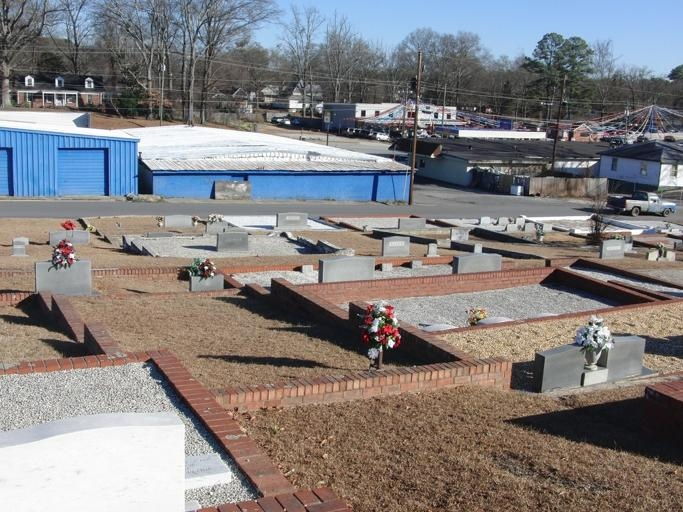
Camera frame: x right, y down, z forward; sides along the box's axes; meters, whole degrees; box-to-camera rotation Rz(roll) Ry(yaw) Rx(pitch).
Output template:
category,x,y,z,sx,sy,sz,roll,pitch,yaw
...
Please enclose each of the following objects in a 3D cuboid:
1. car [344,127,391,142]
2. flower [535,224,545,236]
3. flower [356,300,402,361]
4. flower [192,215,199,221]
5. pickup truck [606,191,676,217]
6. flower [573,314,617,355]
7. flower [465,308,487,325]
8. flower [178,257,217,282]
category,x,y,z,sx,sy,sz,roll,pitch,yaw
car,3.583,-16.844,95.941,3.294,1.696,7.836,-3,11,-31
flower,10.263,-1.299,35.481,0.545,0.469,0.924,-12,19,17
flower,0.710,1.427,12.226,0.660,1.123,0.513,7,12,17
flower,-6.885,-1.755,32.580,0.531,0.243,0.753,2,0,-15
pickup truck,20.900,-3.526,47.182,4.403,1.257,2.011,-3,13,-15
flower,4.654,1.421,12.820,0.779,0.718,0.744,-10,15,-41
flower,3.229,1.467,16.492,0.491,0.405,0.321,-1,-1,-14
flower,-3.809,0.417,18.507,0.969,0.516,0.806,-4,7,-24
